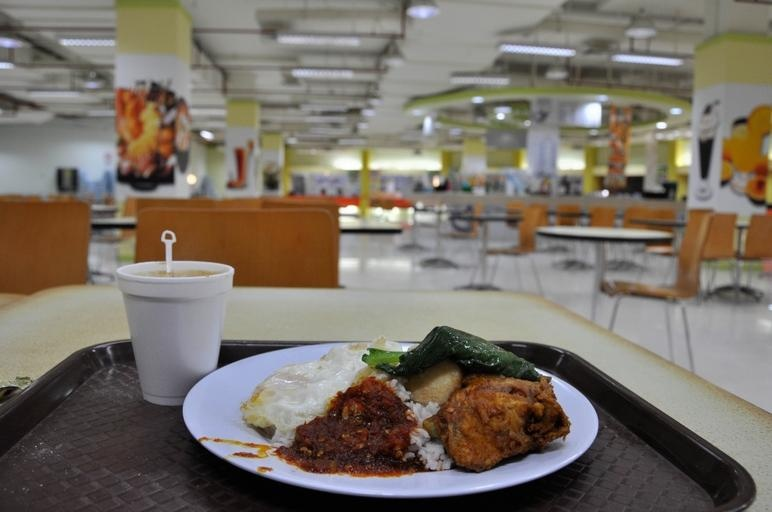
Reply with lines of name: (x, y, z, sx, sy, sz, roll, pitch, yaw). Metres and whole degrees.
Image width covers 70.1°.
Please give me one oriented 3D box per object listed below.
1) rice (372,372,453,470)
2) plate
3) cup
rice: (0.026, 0.196, 0.631, 0.025, 0.073, 0.072, 4, -5, -26)
plate: (0.003, 0.186, 0.650, 0.473, 0.080, 0.229, 2, 9, 13)
cup: (-0.249, 0.100, 0.780, 0.168, 0.183, 0.171, 1, -3, 0)
